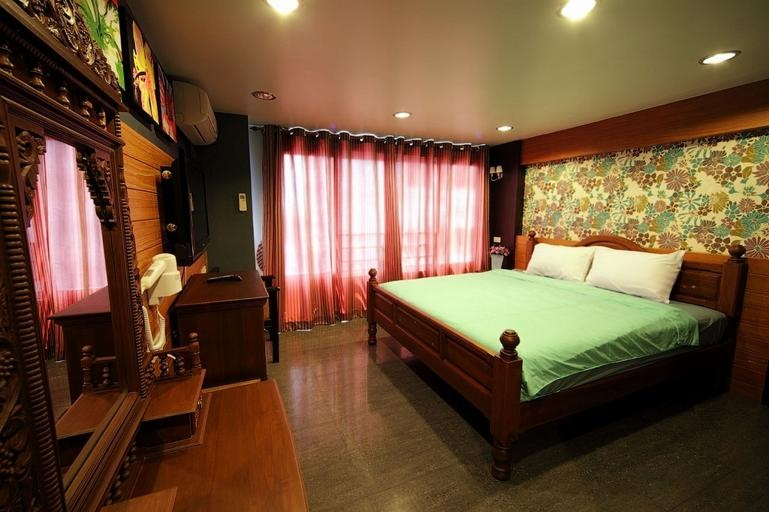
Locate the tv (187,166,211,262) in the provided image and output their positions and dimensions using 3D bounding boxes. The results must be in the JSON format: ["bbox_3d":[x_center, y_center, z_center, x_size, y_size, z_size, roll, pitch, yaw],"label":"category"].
[{"bbox_3d":[-1.924,-0.463,4.719,0.118,0.887,1.198,-6,7,-26],"label":"tv"}]

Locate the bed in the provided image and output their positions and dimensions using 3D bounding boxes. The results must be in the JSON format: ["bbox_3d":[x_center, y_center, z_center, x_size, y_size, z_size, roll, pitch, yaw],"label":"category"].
[{"bbox_3d":[1.580,0.786,4.211,2.168,1.257,2.131,-4,11,-21],"label":"bed"}]

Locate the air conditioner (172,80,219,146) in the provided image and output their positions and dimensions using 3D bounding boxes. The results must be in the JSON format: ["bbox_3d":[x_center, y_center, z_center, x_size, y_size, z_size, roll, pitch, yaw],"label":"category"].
[{"bbox_3d":[-1.708,-1.259,4.373,0.260,0.372,0.760,0,-2,-9],"label":"air conditioner"}]

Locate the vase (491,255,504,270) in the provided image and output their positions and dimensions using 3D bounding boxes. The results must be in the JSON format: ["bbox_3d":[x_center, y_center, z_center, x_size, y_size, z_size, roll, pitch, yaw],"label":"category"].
[{"bbox_3d":[1.545,0.099,6.552,0.183,0.209,0.208,3,3,-1],"label":"vase"}]

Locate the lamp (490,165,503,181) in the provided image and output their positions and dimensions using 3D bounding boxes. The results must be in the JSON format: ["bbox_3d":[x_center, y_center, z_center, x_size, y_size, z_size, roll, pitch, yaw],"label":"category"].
[{"bbox_3d":[1.521,-1.120,6.537,0.167,0.244,0.243,-9,19,-14],"label":"lamp"}]
